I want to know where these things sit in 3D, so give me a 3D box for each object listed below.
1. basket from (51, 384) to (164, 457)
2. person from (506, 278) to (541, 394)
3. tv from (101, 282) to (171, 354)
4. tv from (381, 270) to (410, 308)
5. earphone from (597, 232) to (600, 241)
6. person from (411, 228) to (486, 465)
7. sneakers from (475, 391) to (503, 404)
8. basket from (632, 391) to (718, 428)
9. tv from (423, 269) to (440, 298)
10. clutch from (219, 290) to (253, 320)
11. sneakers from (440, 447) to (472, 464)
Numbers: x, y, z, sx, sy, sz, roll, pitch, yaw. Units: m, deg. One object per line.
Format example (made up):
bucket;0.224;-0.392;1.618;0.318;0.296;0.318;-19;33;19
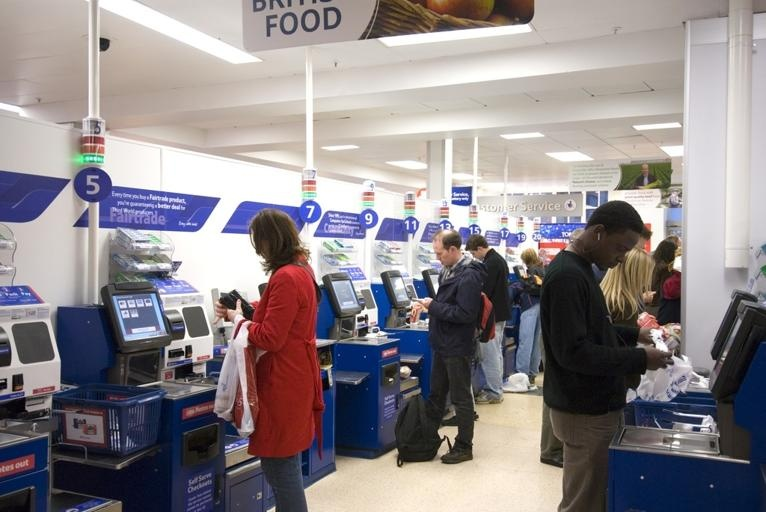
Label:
basket;-1.729;0.983;3.472;0.526;0.250;0.413;0;-2;20
person;2.102;1.229;8.299;0.567;0.511;1.755;12;37;14
tv;-1.716;0.412;3.892;0.213;0.448;0.373;1;4;34
tv;0.133;0.410;6.700;0.202;0.399;0.297;-13;23;18
earphone;1.147;-0.110;2.948;0.019;0.040;0.007;0;4;21
person;0.650;0.884;5.314;0.574;2.246;0.405;1;4;34
sneakers;1.382;1.878;7.319;0.353;0.176;0.152;4;-3;1
basket;1.774;0.950;3.395;0.400;0.112;0.401;-2;0;37
tv;0.674;0.375;7.836;0.105;0.448;0.320;-10;-8;27
clutch;-0.922;0.286;3.593;0.080;0.240;0.172;-52;9;-31
sneakers;0.710;1.921;5.352;0.330;0.145;0.117;5;-7;-24
